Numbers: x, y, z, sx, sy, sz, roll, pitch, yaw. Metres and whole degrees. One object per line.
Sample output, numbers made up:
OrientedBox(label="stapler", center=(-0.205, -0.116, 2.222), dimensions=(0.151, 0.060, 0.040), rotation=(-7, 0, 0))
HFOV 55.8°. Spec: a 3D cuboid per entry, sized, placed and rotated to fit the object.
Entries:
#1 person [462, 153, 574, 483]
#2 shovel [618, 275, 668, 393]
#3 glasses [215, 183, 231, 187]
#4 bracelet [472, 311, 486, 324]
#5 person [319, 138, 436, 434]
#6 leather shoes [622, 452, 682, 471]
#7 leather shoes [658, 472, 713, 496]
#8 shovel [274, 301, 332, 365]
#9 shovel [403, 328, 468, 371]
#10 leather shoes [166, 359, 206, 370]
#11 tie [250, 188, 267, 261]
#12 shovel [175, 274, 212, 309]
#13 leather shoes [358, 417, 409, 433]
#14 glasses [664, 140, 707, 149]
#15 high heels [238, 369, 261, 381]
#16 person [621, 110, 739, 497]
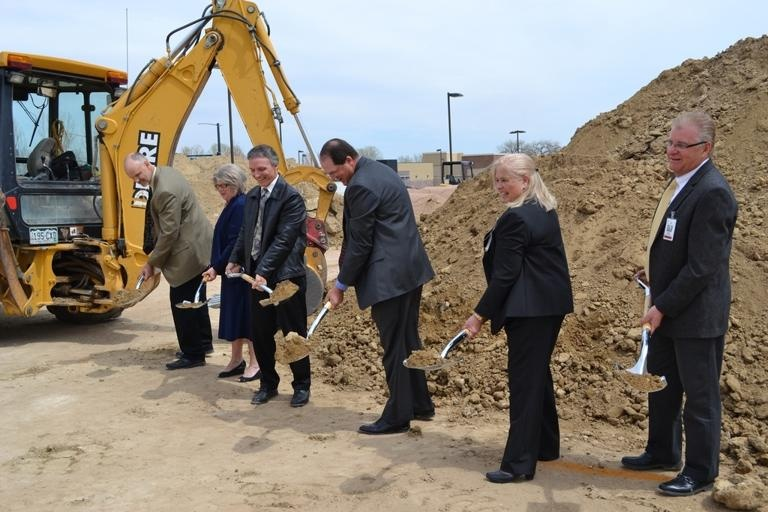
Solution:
OrientedBox(label="person", center=(1.232, 0.551, 6.491), dimensions=(0.846, 2.927, 0.434), rotation=(2, 6, 14))
OrientedBox(label="shovel", center=(2.351, 0.538, 6.663), dimensions=(0.437, 0.268, 1.481), rotation=(3, 48, 10))
OrientedBox(label="glasses", center=(-1.866, -0.830, 8.524), dimensions=(0.094, 0.028, 0.097), rotation=(0, -9, 13))
OrientedBox(label="bracelet", center=(0.843, 0.544, 6.478), dimensions=(0.099, 0.035, 0.098), rotation=(41, -2, 30))
OrientedBox(label="person", center=(-0.035, 0.335, 7.334), dimensions=(1.068, 2.976, 0.364), rotation=(0, 6, -5))
OrientedBox(label="leather shoes", center=(2.444, 1.907, 6.710), dimensions=(0.526, 0.202, 0.193), rotation=(5, -8, 6))
OrientedBox(label="leather shoes", center=(2.669, 1.987, 6.356), dimensions=(0.500, 0.175, 0.185), rotation=(2, -10, -10))
OrientedBox(label="shovel", center=(-0.931, 0.895, 8.267), dimensions=(0.388, 0.912, 0.241), rotation=(35, -3, 9))
OrientedBox(label="shovel", center=(0.588, 0.883, 6.580), dimensions=(0.354, 0.129, 0.665), rotation=(1, 30, 47))
OrientedBox(label="leather shoes", center=(-2.491, 1.357, 9.124), dimensions=(0.437, 0.168, 0.159), rotation=(6, -7, -22))
OrientedBox(label="tie", center=(-1.351, -0.349, 7.952), dimensions=(0.140, 0.800, 0.113), rotation=(8, -2, 24))
OrientedBox(label="shovel", center=(-2.304, 0.409, 8.685), dimensions=(0.276, 0.342, 0.326), rotation=(-14, 18, 50))
OrientedBox(label="leather shoes", center=(-0.013, 1.739, 7.495), dimensions=(0.514, 0.210, 0.193), rotation=(3, -7, -3))
OrientedBox(label="glasses", center=(2.605, -0.965, 6.239), dimensions=(0.309, 0.077, 0.074), rotation=(2, 6, 21))
OrientedBox(label="high heels", center=(-1.618, 1.460, 8.843), dimensions=(0.323, 0.123, 0.116), rotation=(6, -8, -35))
OrientedBox(label="person", center=(2.622, 0.404, 6.349), dimensions=(0.728, 3.302, 0.607), rotation=(3, 6, 23))
